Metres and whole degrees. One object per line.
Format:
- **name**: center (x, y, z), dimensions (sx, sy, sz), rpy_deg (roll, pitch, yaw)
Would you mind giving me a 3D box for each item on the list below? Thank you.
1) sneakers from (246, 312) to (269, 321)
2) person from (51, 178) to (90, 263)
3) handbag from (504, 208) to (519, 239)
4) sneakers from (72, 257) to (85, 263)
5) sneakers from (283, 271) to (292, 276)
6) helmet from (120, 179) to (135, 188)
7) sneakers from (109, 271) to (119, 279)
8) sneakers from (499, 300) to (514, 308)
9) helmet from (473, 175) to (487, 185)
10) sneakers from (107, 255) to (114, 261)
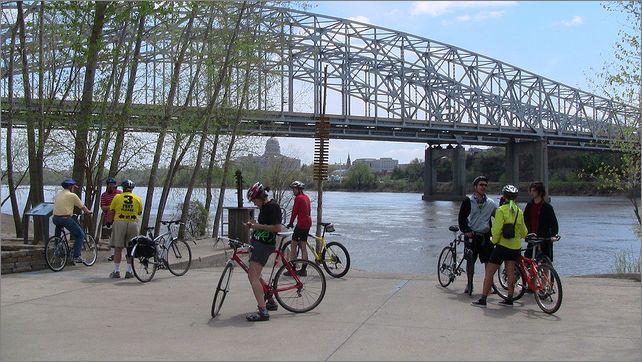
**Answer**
- **sneakers**: center (-1.737, 3.768, 15.758), dimensions (0.729, 0.276, 0.234), rpy_deg (2, -2, 0)
- **person**: center (-8.816, 1.432, 19.790), dimensions (1.139, 3.065, 1.113), rpy_deg (0, 0, -19)
- **handbag**: center (5.556, 1.274, 16.430), dimensions (0.484, 0.600, 0.174), rpy_deg (1, 0, -19)
- **sneakers**: center (-8.610, 2.761, 19.934), dimensions (0.436, 0.265, 0.137), rpy_deg (5, 13, -17)
- **sneakers**: center (-0.951, 2.623, 15.996), dimensions (0.127, 0.148, 0.273), rpy_deg (1, -1, -33)
- **helmet**: center (-6.502, 0.112, 19.026), dimensions (0.331, 0.355, 0.418), rpy_deg (3, -5, -37)
- **sneakers**: center (-6.891, 3.109, 18.776), dimensions (0.398, 0.163, 0.153), rpy_deg (1, -3, 29)
- **sneakers**: center (5.492, 3.588, 16.635), dimensions (0.163, 0.171, 0.430), rpy_deg (3, -1, -38)
- **helmet**: center (4.904, -0.013, 17.199), dimensions (0.331, 0.376, 0.352), rpy_deg (14, -17, -26)
- **sneakers**: center (-8.053, 2.938, 21.513), dimensions (0.162, 0.137, 0.348), rpy_deg (2, -10, -10)
